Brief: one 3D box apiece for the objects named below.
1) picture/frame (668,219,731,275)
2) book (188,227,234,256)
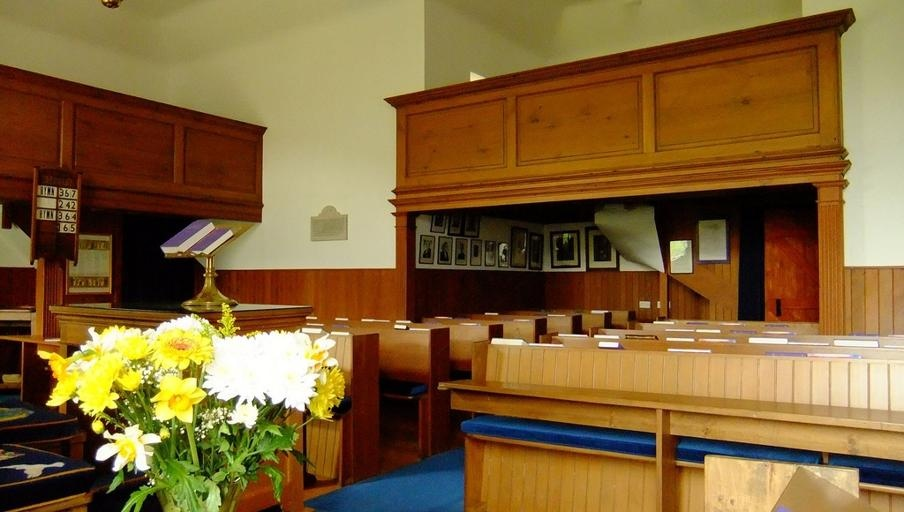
[{"bbox_3d":[4.309,-0.164,10.654,1.007,0.881,0.077,-3,-7,36],"label":"picture/frame"},{"bbox_3d":[-2.219,-0.137,5.724,0.382,0.259,0.095,0,-4,-23],"label":"book"}]
